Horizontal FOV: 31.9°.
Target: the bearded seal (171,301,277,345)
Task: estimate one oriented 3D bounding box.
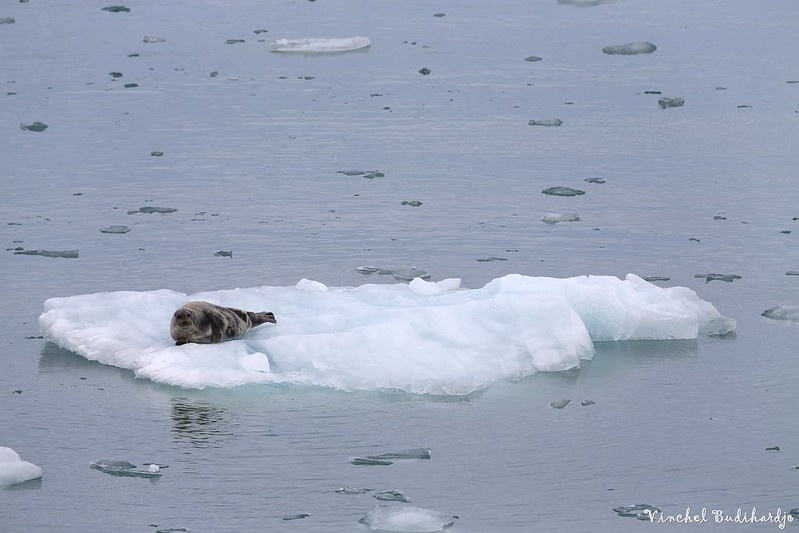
[{"bbox_3d":[-2.351,0.624,17.567,1.148,0.360,1.752,4,8,22],"label":"bearded seal"}]
